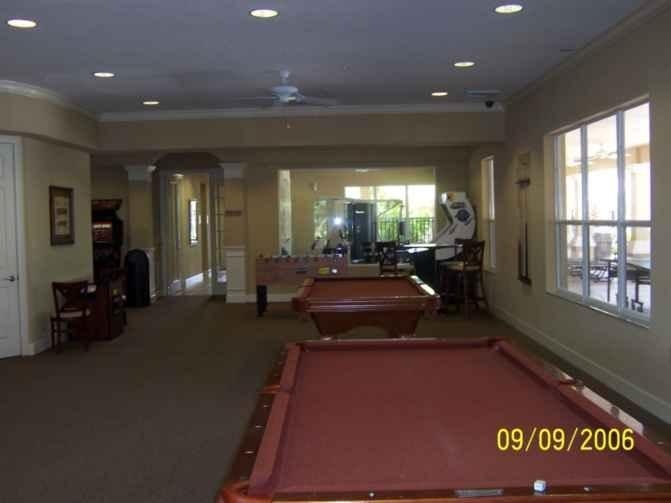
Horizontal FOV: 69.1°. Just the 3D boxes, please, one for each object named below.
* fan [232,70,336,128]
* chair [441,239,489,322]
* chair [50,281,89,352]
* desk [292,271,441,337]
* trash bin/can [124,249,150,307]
[{"bbox_3d":[-0.441,-1.998,6.449,1.062,0.165,1.506,-4,6,-24],"label":"fan"},{"bbox_3d":[2.091,0.425,8.064,0.736,1.246,1.428,0,6,16],"label":"chair"},{"bbox_3d":[-3.518,0.830,6.458,0.493,0.901,0.690,-5,7,-29],"label":"chair"},{"bbox_3d":[0.248,0.495,4.363,1.051,0.289,0.771,0,3,-1],"label":"desk"},{"bbox_3d":[-3.749,0.518,9.183,0.435,1.063,0.358,-3,6,-10],"label":"trash bin/can"}]
